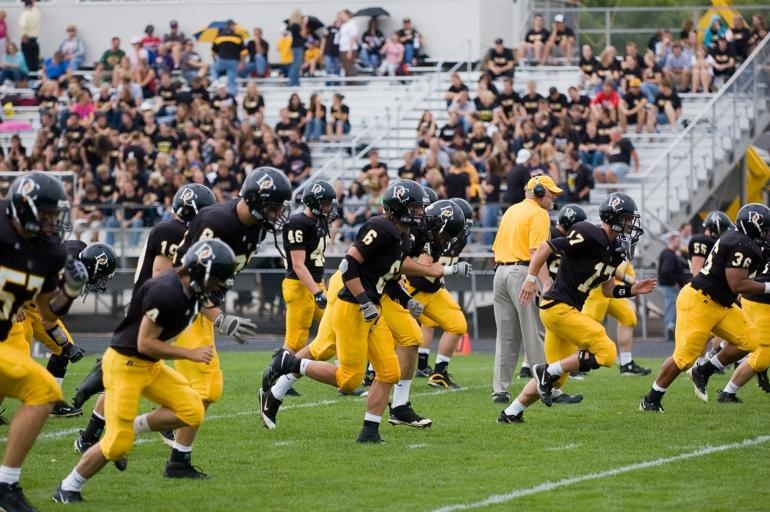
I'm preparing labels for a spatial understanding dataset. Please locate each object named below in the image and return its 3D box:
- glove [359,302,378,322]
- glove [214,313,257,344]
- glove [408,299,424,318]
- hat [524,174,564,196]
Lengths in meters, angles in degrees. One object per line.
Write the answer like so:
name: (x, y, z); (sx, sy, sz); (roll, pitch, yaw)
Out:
glove: (-0.193, 0.702, 17.793); (0.250, 0.270, 0.176); (-1, 10, -3)
glove: (-1.801, 0.885, 16.932); (0.485, 0.360, 0.145); (35, -20, -19)
glove: (0.400, 0.679, 18.242); (0.176, 0.256, 0.219); (0, 10, 1)
hat: (2.231, -1.008, 19.663); (0.421, 0.231, 0.277); (-4, 3, -15)
